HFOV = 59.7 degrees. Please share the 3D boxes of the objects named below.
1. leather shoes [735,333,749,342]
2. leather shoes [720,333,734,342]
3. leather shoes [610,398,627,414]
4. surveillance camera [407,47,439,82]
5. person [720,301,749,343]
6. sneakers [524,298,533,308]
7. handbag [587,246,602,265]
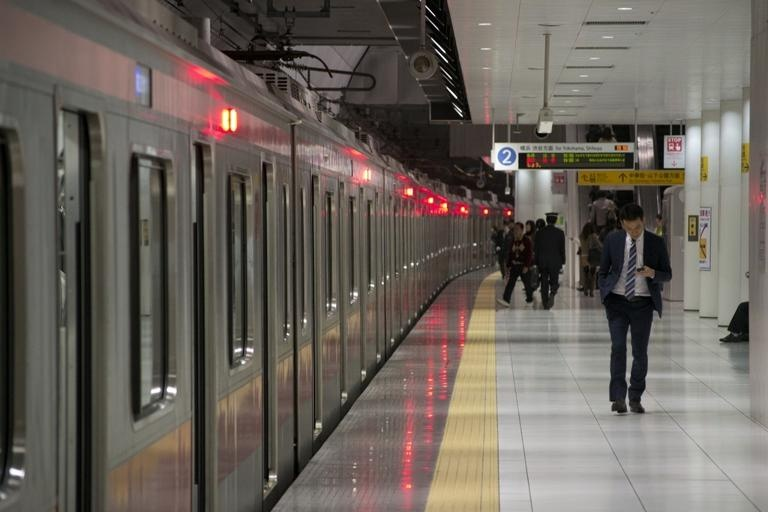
[{"bbox_3d":[6.140,1.399,11.412,0.158,0.092,0.242,1,2,14],"label":"leather shoes"},{"bbox_3d":[5.872,1.405,11.534,0.310,0.149,0.123,-1,-2,23],"label":"leather shoes"},{"bbox_3d":[2.656,1.704,7.527,0.086,0.163,0.254,-2,-22,1],"label":"leather shoes"},{"bbox_3d":[0.599,-2.955,10.367,0.430,0.486,0.136,4,1,-1],"label":"surveillance camera"},{"bbox_3d":[5.931,1.122,11.267,0.425,0.762,0.590,0,5,22],"label":"person"},{"bbox_3d":[3.808,1.228,17.459,0.184,0.146,0.196,1,7,5],"label":"sneakers"},{"bbox_3d":[5.391,-0.031,17.066,0.254,0.503,0.400,-6,11,-36],"label":"handbag"}]
